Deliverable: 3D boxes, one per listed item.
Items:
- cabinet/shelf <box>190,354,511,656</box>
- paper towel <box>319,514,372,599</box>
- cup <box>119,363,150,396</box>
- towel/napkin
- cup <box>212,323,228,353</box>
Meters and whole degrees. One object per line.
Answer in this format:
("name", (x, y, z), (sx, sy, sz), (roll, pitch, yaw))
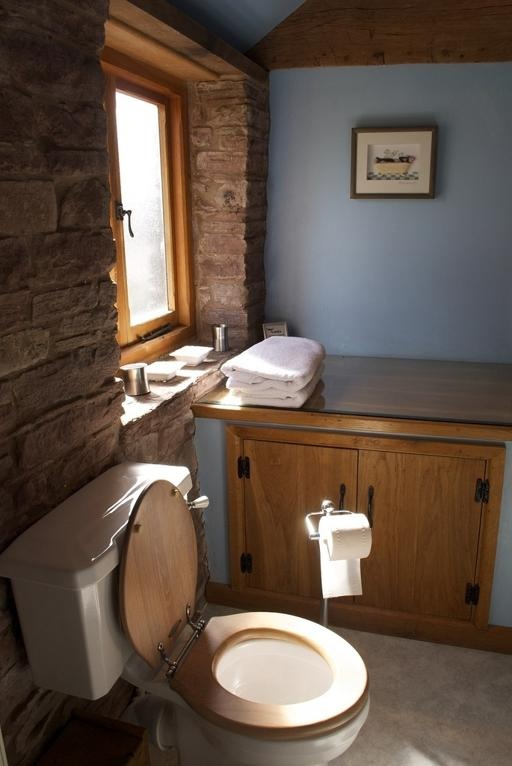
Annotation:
("cabinet/shelf", (0.386, 0.349, 2.257), (1.371, 1.043, 0.819), (5, 21, 15))
("paper towel", (0.230, 0.451, 1.428), (0.146, 0.225, 0.116), (-3, -2, -14))
("cup", (-0.370, -0.009, 1.768), (0.086, 0.097, 0.094), (-8, 14, 2))
("towel/napkin", (0.083, -0.048, 2.026), (0.221, 0.108, 0.315), (5, 20, 12))
("cup", (-0.155, -0.186, 2.403), (0.072, 0.133, 0.107), (1, 18, 3))
